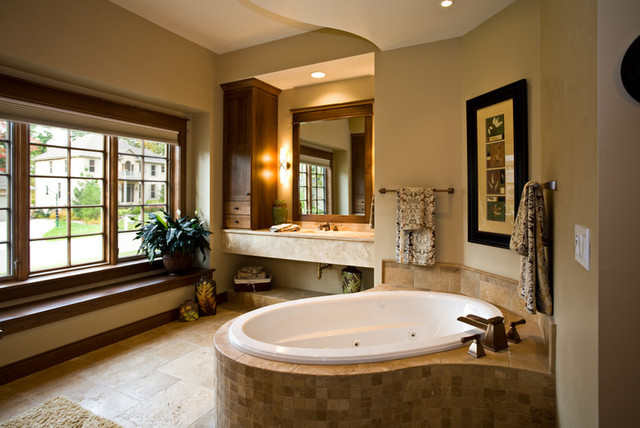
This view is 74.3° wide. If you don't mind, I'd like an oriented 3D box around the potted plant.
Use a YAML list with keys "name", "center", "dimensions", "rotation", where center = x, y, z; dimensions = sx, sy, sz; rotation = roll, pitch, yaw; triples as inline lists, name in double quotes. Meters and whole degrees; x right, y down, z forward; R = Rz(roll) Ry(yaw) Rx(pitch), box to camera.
- name: "potted plant"
  center: [-1.768, 0.407, 5.201]
  dimensions: [0.747, 0.629, 0.847]
  rotation: [-2, -10, 14]

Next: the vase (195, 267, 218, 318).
- name: "vase"
  center: [-1.421, 1.025, 5.283]
  dimensions: [0.237, 0.488, 0.164]
  rotation: [-3, 13, -18]

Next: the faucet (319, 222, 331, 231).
- name: "faucet"
  center: [0.063, 0.174, 5.472]
  dimensions: [0.147, 0.091, 0.279]
  rotation: [1, 13, 2]

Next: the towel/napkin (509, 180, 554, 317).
- name: "towel/napkin"
  center: [1.524, 0.234, 3.102]
  dimensions: [0.238, 0.908, 0.343]
  rotation: [-1, 10, 18]

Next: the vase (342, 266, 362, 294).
- name: "vase"
  center: [0.390, 0.825, 5.185]
  dimensions: [0.231, 0.377, 0.273]
  rotation: [2, 12, 7]

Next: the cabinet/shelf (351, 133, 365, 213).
- name: "cabinet/shelf"
  center: [0.510, -0.441, 5.397]
  dimensions: [0.263, 1.099, 0.109]
  rotation: [-6, 14, -17]

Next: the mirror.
- name: "mirror"
  center: [0.130, -0.627, 5.539]
  dimensions: [1.117, 1.543, 0.063]
  rotation: [-1, -2, 16]

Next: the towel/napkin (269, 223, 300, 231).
- name: "towel/napkin"
  center: [-0.449, 0.202, 5.387]
  dimensions: [0.370, 0.077, 0.232]
  rotation: [0, 13, -7]

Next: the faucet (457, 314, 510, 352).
- name: "faucet"
  center: [1.245, 0.891, 3.283]
  dimensions: [0.200, 0.215, 0.365]
  rotation: [-3, 5, -23]

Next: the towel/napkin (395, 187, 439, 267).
- name: "towel/napkin"
  center: [0.994, 0.127, 4.426]
  dimensions: [0.402, 0.774, 0.208]
  rotation: [3, 12, 10]

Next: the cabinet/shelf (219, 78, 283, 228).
- name: "cabinet/shelf"
  center: [-0.922, -0.784, 5.634]
  dimensions: [0.749, 1.929, 0.688]
  rotation: [-1, 12, -7]

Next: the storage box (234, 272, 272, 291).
- name: "storage box"
  center: [-0.905, 0.946, 5.712]
  dimensions: [0.465, 0.187, 0.230]
  rotation: [-2, 13, -13]
